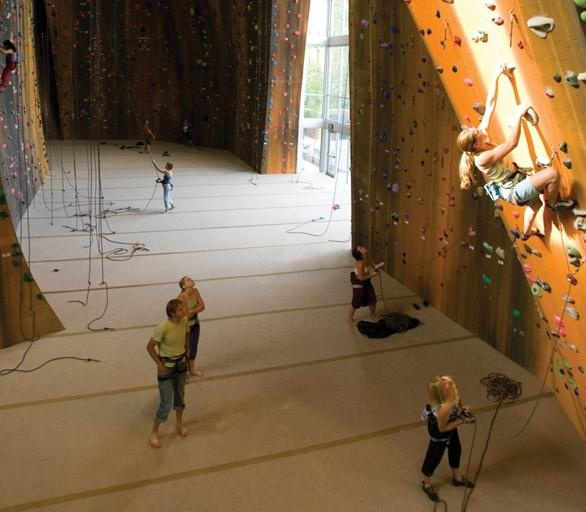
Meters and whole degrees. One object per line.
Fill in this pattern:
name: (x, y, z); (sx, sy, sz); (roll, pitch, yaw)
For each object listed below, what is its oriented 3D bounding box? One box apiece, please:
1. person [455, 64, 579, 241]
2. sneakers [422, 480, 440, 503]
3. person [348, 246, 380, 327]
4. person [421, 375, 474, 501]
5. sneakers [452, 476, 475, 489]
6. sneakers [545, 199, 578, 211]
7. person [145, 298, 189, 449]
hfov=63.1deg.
person: (1.491, -0.659, 3.345); (0.620, 1.223, 0.399); (-32, 9, 30)
sneakers: (1.011, 1.720, 3.515); (0.054, 0.074, 0.168); (-7, 23, -9)
person: (0.908, 0.418, 6.117); (0.454, 1.075, 0.366); (0, 36, 17)
person: (1.150, 1.410, 3.576); (0.338, 0.903, 0.305); (2, 46, 21)
sneakers: (1.272, 1.697, 3.585); (0.151, 0.070, 0.066); (-1, 19, 7)
sneakers: (1.737, -0.338, 3.106); (0.044, 0.082, 0.199); (-3, 17, -19)
person: (-1.009, 0.922, 3.855); (0.321, 1.273, 0.321); (-3, 14, -19)
